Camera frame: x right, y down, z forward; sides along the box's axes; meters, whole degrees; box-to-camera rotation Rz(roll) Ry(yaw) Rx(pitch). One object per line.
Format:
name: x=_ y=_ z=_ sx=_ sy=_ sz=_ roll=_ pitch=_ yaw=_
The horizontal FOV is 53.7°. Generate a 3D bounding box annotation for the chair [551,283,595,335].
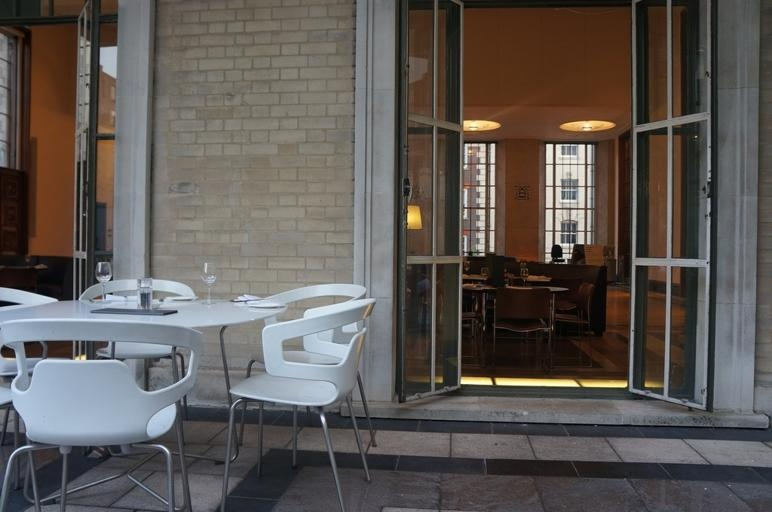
chair: x=2.274 y=0.725 z=9.483 sx=0.600 sy=0.774 sz=0.562 roll=4 pitch=5 yaw=19

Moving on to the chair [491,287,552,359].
chair: x=1.563 y=0.746 z=8.677 sx=0.823 sy=0.941 sz=0.861 roll=2 pitch=-2 yaw=6

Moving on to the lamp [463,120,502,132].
lamp: x=1.676 y=-2.333 z=13.455 sx=0.546 sy=0.225 sz=0.994 roll=0 pitch=3 yaw=4

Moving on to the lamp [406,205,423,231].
lamp: x=0.275 y=-0.357 z=7.009 sx=0.214 sy=0.201 sz=0.203 roll=-1 pitch=4 yaw=12

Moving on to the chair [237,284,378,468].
chair: x=-0.572 y=0.947 z=5.917 sx=0.935 sy=1.138 sz=1.010 roll=4 pitch=4 yaw=17

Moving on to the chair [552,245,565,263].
chair: x=3.750 y=-0.020 z=16.657 sx=0.345 sy=0.459 sz=0.425 roll=1 pitch=-5 yaw=15
